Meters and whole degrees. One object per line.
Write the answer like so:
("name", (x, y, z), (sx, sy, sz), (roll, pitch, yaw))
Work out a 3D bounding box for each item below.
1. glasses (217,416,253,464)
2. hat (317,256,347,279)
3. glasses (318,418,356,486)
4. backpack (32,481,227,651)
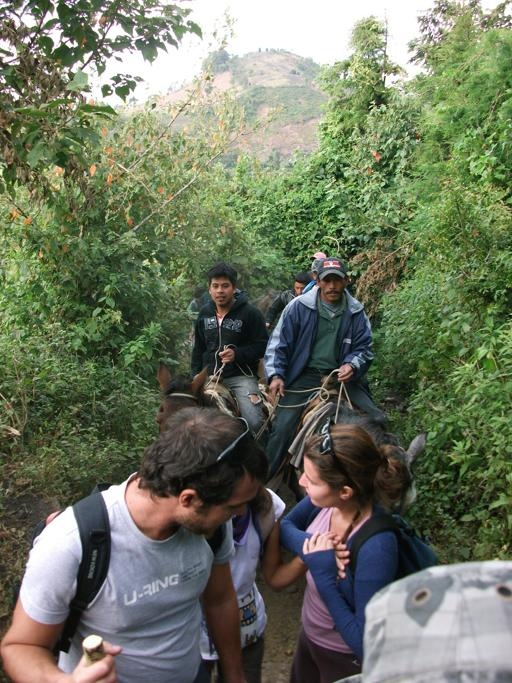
("glasses", (-0.073, 0.302, 1.613), (0.106, 0.030, 0.103), (-35, 9, 16))
("hat", (0.676, -0.669, 4.839), (0.268, 0.208, 0.261), (-5, 2, 7))
("glasses", (0.293, 0.416, 2.072), (0.054, 0.176, 0.175), (-35, 25, 3))
("backpack", (-0.400, 0.695, 1.670), (0.319, 0.420, 0.420), (6, -7, 26))
